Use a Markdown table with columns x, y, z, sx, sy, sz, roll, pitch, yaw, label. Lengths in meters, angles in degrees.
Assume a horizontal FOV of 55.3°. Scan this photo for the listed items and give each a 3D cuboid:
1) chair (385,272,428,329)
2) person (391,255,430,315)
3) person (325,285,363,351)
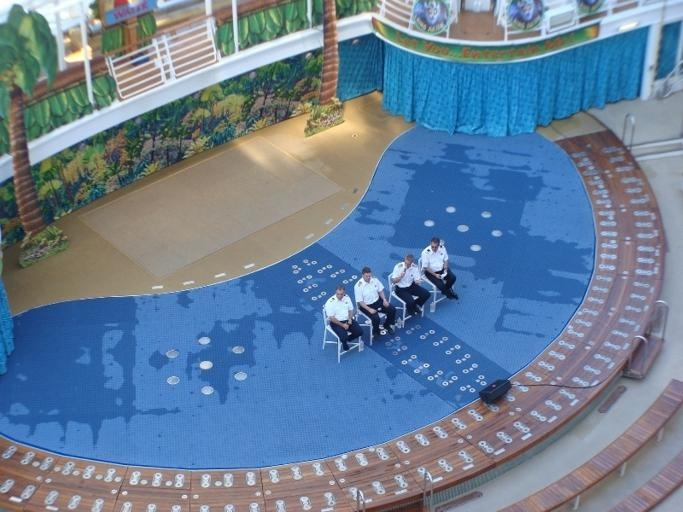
| x | y | z | sx | sy | sz | roll | pitch | yaw | label |
| --- | --- | --- | --- | --- | --- | --- | --- | --- | --- |
| 1.805 | 1.105 | 18.918 | 1.109 | 1.272 | 1.840 | 6 | 46 | 11 | chair |
| 2.006 | 0.911 | 18.745 | 0.716 | 1.498 | 0.832 | -29 | 50 | -15 | person |
| 0.056 | 1.731 | 17.592 | 0.839 | 1.870 | 1.088 | -9 | 33 | -7 | person |
